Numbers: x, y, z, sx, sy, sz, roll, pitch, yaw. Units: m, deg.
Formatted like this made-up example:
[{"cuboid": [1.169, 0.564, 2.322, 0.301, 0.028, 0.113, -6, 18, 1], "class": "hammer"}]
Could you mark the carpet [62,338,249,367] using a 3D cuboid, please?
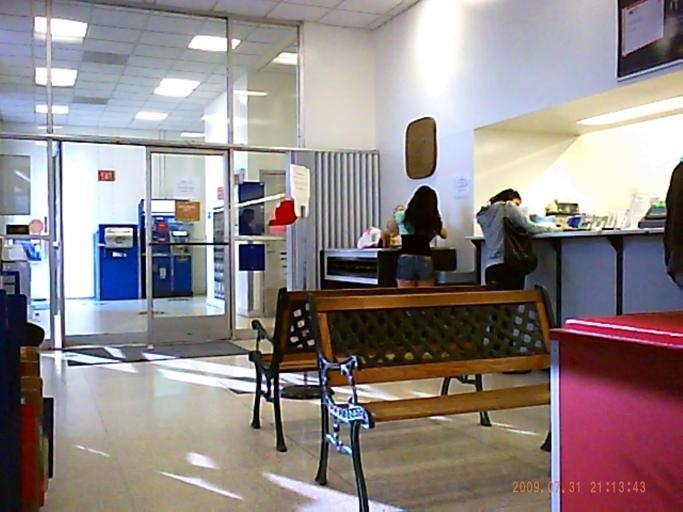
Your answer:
[{"cuboid": [-2.504, 1.269, 7.199, 2.280, 0.076, 1.392, -1, 3, -21], "class": "carpet"}]

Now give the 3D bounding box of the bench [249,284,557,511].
[{"cuboid": [0.357, 0.640, 3.615, 1.356, 0.706, 1.368, -1, -1, -22], "class": "bench"}]

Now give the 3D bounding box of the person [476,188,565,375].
[{"cuboid": [1.779, 0.119, 5.704, 0.679, 1.701, 0.712, 4, -9, -15], "class": "person"}]

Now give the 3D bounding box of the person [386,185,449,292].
[{"cuboid": [0.874, -0.210, 6.177, 0.558, 1.142, 1.297, 0, 2, 7], "class": "person"}]

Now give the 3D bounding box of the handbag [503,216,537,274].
[{"cuboid": [1.777, -0.102, 5.425, 0.403, 0.460, 0.197, 24, -34, -39], "class": "handbag"}]
